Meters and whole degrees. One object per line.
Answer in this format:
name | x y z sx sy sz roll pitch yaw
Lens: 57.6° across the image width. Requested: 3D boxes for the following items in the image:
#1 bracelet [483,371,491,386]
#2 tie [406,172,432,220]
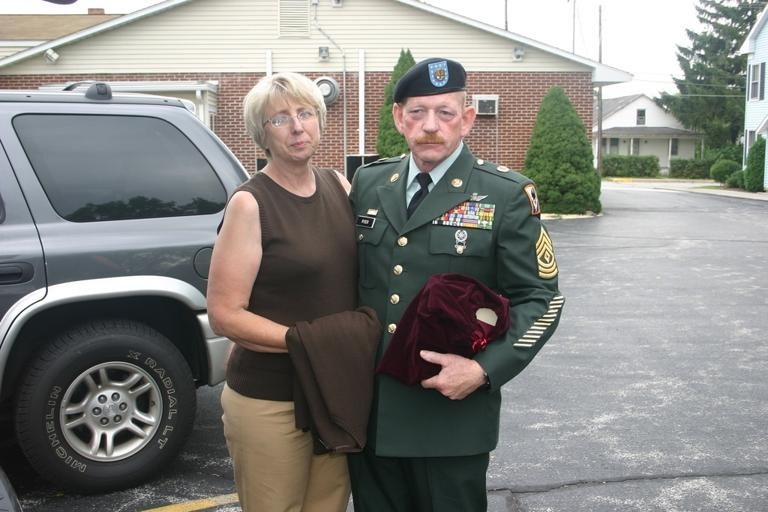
bracelet | 0.496 0.592 3.338 0.044 0.052 0.057 -3 -3 2
tie | 0.188 -0.320 3.640 0.096 0.256 0.076 16 -7 22
